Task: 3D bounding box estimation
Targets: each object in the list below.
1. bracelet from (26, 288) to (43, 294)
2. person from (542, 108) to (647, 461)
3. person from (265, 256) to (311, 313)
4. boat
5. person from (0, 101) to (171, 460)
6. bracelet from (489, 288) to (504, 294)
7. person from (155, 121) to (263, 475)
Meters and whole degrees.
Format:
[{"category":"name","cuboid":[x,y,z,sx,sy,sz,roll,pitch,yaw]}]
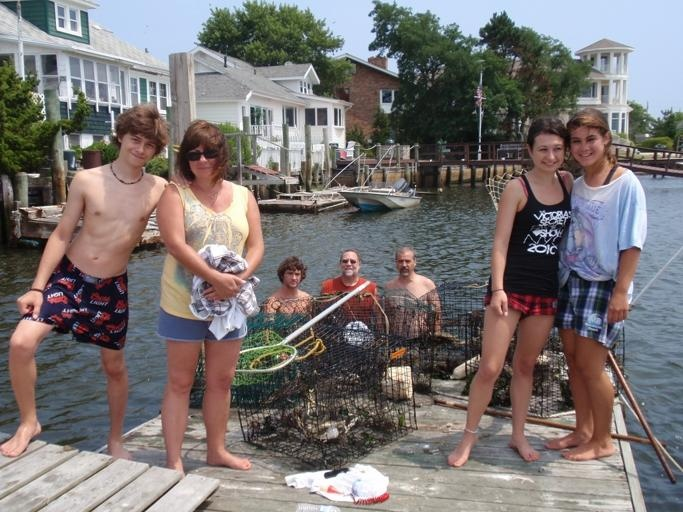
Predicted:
[{"category":"bracelet","cuboid":[-2.081,0.233,4.389,0.094,0.043,0.079,-3,7,-17]},{"category":"person","cuboid":[1.851,0.206,4.646,0.594,2.521,0.486,4,9,35]},{"category":"person","cuboid":[-0.738,0.392,8.774,0.765,0.832,0.479,0,-6,-14]},{"category":"boat","cuboid":[1.554,-2.976,30.418,1.777,3.124,5.347,2,6,32]},{"category":"person","cuboid":[-1.788,0.198,4.611,1.255,2.564,0.417,-6,9,-32]},{"category":"bracelet","cuboid":[1.100,0.244,4.579,0.087,0.044,0.045,3,9,32]},{"category":"person","cuboid":[-0.905,0.305,4.465,0.752,2.462,0.492,-4,8,-20]}]
